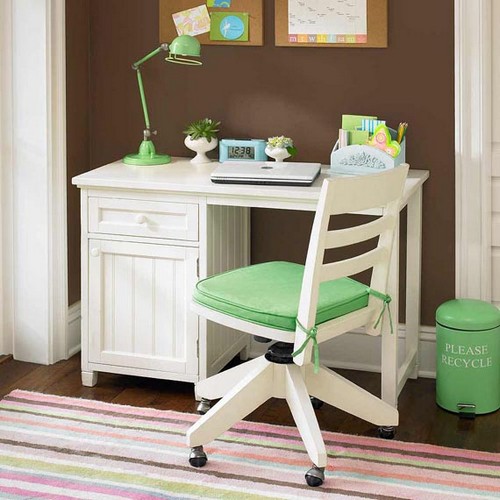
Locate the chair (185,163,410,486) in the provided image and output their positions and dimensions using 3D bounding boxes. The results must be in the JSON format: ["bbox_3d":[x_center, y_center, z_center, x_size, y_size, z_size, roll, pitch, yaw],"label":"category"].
[{"bbox_3d":[0.135,0.169,1.611,0.608,0.842,0.679,1,11,-3],"label":"chair"}]

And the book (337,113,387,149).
[{"bbox_3d":[0.410,-0.435,1.970,0.174,0.116,0.129,5,10,26],"label":"book"}]

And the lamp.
[{"bbox_3d":[-0.358,-0.596,2.145,0.347,0.518,0.378,0,9,1],"label":"lamp"}]

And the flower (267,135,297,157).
[{"bbox_3d":[0.115,-0.389,2.040,0.083,0.059,0.087,0,12,-4],"label":"flower"}]

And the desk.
[{"bbox_3d":[0.034,0.108,2.027,1.167,0.816,0.545,5,15,13],"label":"desk"}]

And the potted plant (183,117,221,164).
[{"bbox_3d":[-0.194,-0.424,2.179,0.132,0.185,0.144,1,-18,-32],"label":"potted plant"}]
